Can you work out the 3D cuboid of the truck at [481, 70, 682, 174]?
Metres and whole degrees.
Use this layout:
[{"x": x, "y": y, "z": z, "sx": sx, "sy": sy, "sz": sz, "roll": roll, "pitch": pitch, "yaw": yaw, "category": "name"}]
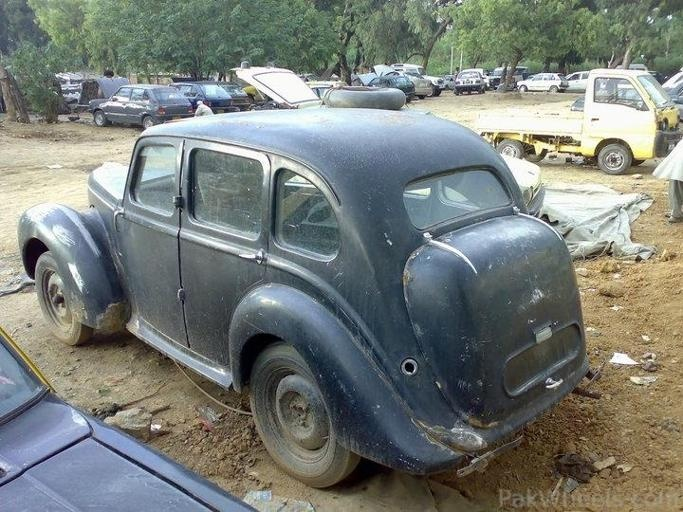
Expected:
[{"x": 5.464, "y": -2.832, "z": 12.123, "sx": 3.968, "sy": 2.317, "sz": 2.403, "roll": 13, "pitch": 24, "yaw": 37, "category": "truck"}]
